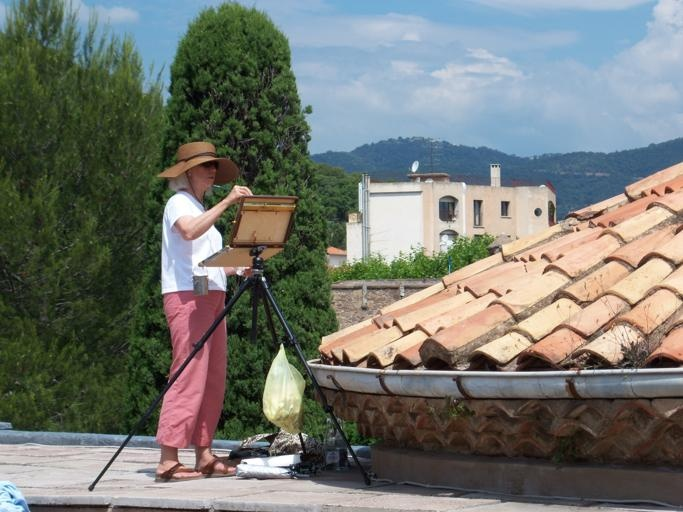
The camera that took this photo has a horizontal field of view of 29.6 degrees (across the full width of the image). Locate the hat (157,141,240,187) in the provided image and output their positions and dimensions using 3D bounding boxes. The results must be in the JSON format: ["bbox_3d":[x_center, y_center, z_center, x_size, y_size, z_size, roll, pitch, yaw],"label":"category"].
[{"bbox_3d":[-1.599,-1.077,14.540,0.711,0.285,0.728,-14,3,-22],"label":"hat"}]

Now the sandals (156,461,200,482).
[{"bbox_3d":[-1.797,2.354,14.094,0.352,0.150,0.212,-3,-3,7],"label":"sandals"}]
